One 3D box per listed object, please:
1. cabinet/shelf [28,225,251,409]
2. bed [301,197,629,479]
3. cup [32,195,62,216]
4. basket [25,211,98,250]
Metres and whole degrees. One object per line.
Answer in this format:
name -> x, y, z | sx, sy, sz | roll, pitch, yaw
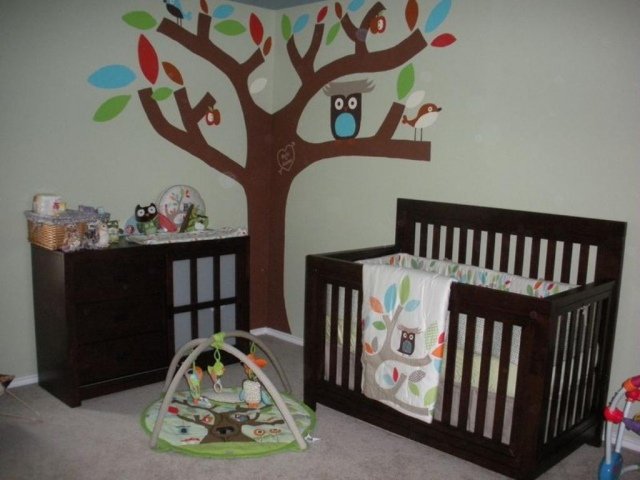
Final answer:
cabinet/shelf -> -1.207, 0.508, 3.193 | 0.984, 0.768, 0.343 | -5, 6, -42
bed -> 0.820, 0.458, 2.910 | 1.508, 1.239, 1.059 | 14, 19, 43
cup -> -1.690, -0.226, 3.089 | 0.151, 0.123, 0.119 | -4, 11, -36
basket -> -1.618, -0.072, 3.084 | 0.258, 0.159, 0.318 | -5, 8, -44
